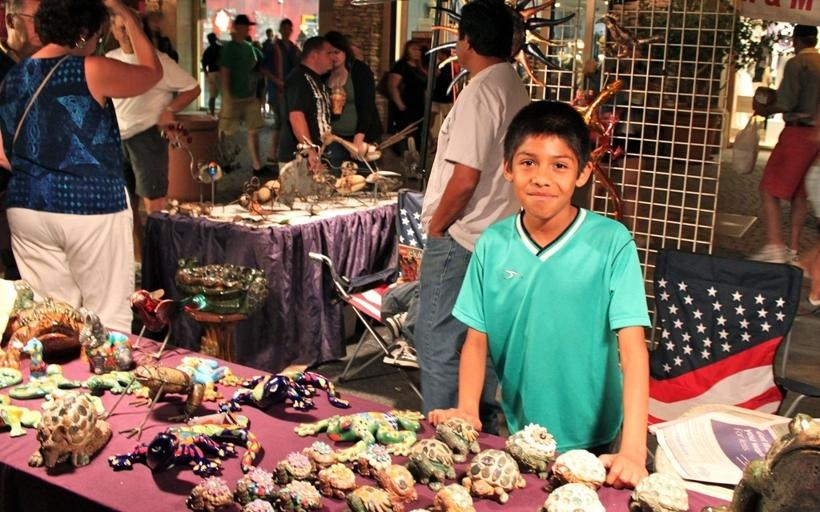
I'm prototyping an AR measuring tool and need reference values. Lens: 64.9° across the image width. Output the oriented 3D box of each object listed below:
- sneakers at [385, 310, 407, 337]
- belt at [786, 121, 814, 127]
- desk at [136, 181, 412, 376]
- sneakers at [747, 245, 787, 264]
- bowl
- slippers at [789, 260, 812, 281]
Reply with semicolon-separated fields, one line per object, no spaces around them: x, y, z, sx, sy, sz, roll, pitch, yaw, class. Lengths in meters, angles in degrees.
-0.086;0.405;4.162;0.100;0.076;0.228;-14;33;9;sneakers
3.711;-1.261;6.182;0.113;0.036;0.084;1;3;11;belt
-1.084;0.041;4.912;1.246;0.900;1.853;18;24;38;desk
3.523;-0.014;6.341;0.466;0.191;0.179;4;11;11;sneakers
-0.906;0.150;3.158;0.494;0.207;0.382;11;8;33;bowl
3.006;0.109;4.952;0.062;0.166;0.169;-16;28;-5;slippers
